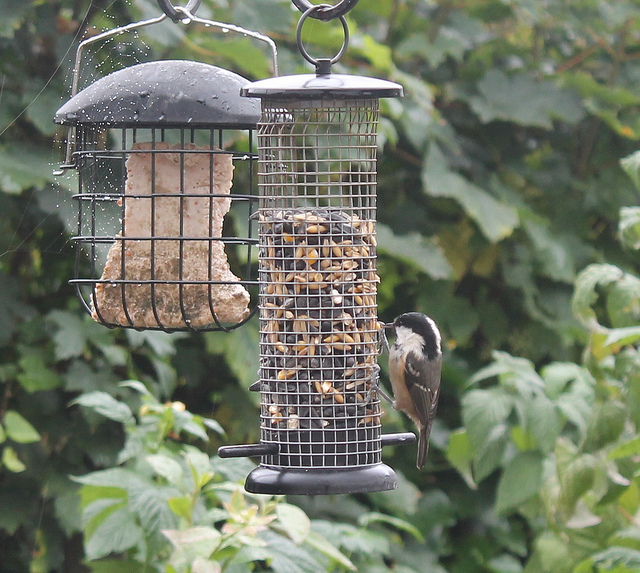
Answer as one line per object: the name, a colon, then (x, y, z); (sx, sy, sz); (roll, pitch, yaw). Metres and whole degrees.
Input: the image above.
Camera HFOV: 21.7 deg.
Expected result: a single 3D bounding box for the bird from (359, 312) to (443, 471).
bird: (0.460, 0.590, 8.928); (0.317, 0.839, 0.299); (7, 21, 2)
